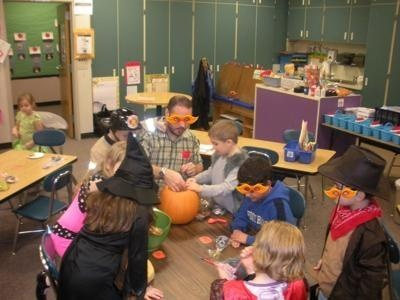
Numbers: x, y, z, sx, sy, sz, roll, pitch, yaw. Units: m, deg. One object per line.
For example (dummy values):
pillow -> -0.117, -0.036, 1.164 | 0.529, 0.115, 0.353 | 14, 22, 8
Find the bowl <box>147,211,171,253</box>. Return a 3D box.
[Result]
bowl -> -0.277, 0.540, 2.221 | 0.233, 0.180, 0.260 | -1, 14, -8

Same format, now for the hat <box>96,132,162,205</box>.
hat -> -0.407, 0.136, 1.833 | 0.333, 0.411, 0.219 | -8, 19, -22

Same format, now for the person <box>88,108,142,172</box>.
person -> -0.840, 0.043, 3.021 | 0.324, 0.767, 0.359 | 18, 14, 28

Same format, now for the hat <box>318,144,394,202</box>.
hat -> 1.017, 0.133, 2.078 | 0.384, 0.169, 0.346 | 32, 26, 20

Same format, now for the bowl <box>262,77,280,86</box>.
bowl -> 1.453, -1.404, 6.646 | 0.254, 0.120, 0.192 | 10, 18, 32

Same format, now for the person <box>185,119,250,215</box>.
person -> 0.153, 0.229, 2.948 | 0.525, 0.971, 0.511 | 0, 16, -3

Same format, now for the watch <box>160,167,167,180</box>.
watch -> -0.306, 0.202, 2.727 | 0.054, 0.076, 0.064 | 7, 12, 17

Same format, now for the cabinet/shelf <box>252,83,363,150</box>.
cabinet/shelf -> 2.011, -0.781, 6.619 | 2.342, 1.691, 1.241 | 12, 16, 43

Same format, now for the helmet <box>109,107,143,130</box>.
helmet -> -0.667, -0.261, 2.938 | 0.221, 0.186, 0.186 | -5, 18, 18

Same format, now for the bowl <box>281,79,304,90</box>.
bowl -> 1.784, -1.295, 6.367 | 0.285, 0.115, 0.241 | 10, 19, 25

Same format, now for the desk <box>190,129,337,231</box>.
desk -> 1.215, 0.574, 4.782 | 2.273, 0.854, 0.900 | 15, 39, 28

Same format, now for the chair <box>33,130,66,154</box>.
chair -> -2.216, -0.139, 4.835 | 0.360, 0.397, 0.571 | -1, -13, -19
